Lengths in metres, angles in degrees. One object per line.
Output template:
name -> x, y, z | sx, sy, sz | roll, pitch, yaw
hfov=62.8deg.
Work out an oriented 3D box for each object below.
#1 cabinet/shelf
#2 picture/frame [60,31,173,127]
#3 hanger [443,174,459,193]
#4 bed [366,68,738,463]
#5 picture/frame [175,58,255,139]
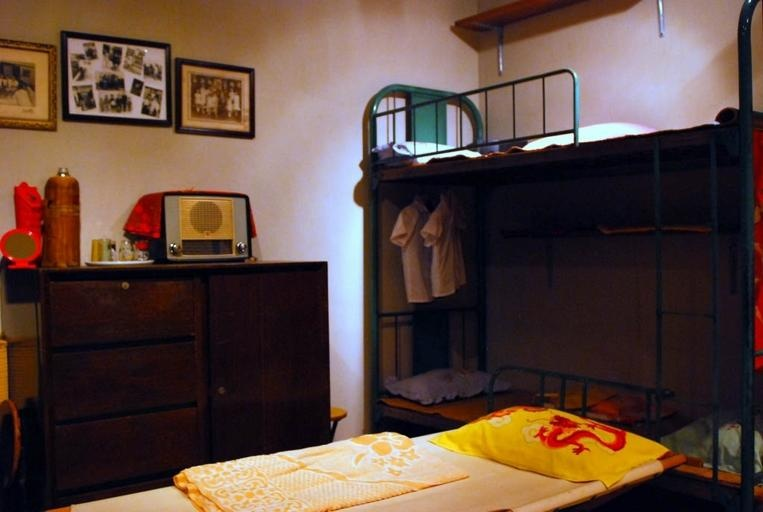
cabinet/shelf -> -1.221, 0.621, 3.643 | 1.137, 1.012, 0.450 | 1, -5, -29
picture/frame -> -1.737, -1.145, 4.029 | 0.666, 0.560, 0.030 | 0, -2, -31
hanger -> 0.585, -0.598, 5.180 | 0.032, 0.109, 0.117 | 17, 17, 28
bed -> 1.217, 0.064, 4.452 | 1.553, 2.773, 2.815 | 1, -2, -37
picture/frame -> -1.169, -1.088, 4.304 | 0.588, 0.534, 0.041 | 1, -4, -30
